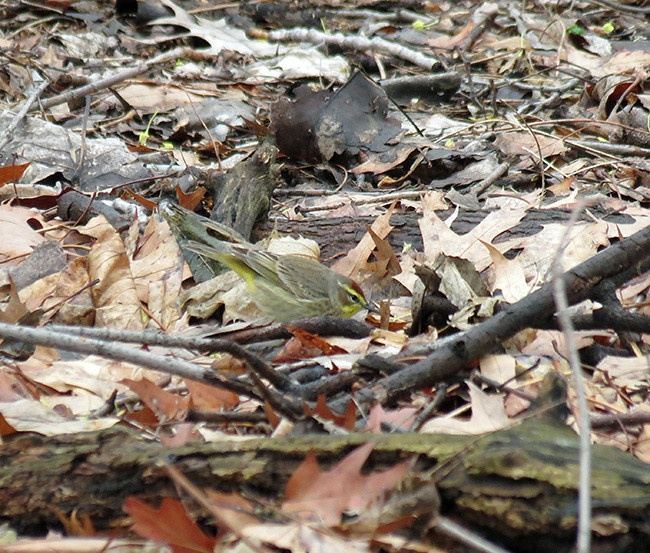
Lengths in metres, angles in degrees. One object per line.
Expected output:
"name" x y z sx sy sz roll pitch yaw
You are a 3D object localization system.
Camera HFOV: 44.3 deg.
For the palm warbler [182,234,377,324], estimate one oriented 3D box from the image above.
"palm warbler" -0.323 0.077 5.490 0.980 0.667 0.700 -5 29 -18
